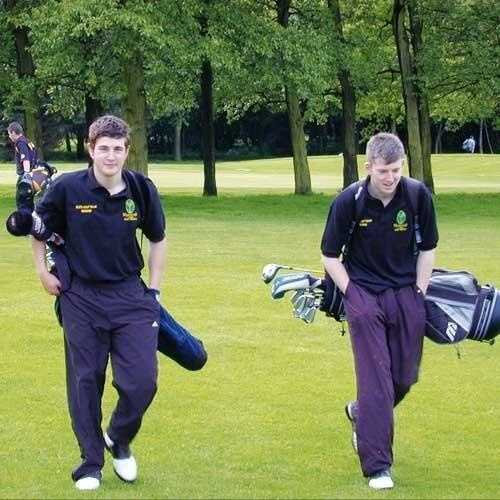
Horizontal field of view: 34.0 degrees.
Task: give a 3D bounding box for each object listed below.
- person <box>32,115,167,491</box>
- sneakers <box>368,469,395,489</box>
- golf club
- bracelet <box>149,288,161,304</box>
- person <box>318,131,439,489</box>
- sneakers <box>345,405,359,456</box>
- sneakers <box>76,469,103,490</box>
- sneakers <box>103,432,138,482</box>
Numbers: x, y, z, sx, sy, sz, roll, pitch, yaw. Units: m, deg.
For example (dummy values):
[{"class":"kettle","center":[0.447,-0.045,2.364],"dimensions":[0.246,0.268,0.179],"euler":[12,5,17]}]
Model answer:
[{"class":"person","center":[-0.817,0.271,4.633],"dimensions":[0.781,2.026,0.689],"euler":[-5,8,-17]},{"class":"sneakers","center":[0.734,1.289,4.579],"dimensions":[0.141,0.092,0.234],"euler":[-2,10,8]},{"class":"golf club","center":[0.319,0.267,5.347],"dimensions":[0.378,0.197,0.379],"euler":[21,3,-26]},{"class":"bracelet","center":[-0.566,0.275,4.814],"dimensions":[0.069,0.079,0.059],"euler":[0,3,-7]},{"class":"person","center":[0.837,0.411,4.802],"dimensions":[0.708,1.655,0.765],"euler":[-4,8,-6]},{"class":"sneakers","center":[0.653,1.113,5.199],"dimensions":[0.066,0.244,0.092],"euler":[-5,3,30]},{"class":"sneakers","center":[-0.876,1.258,4.412],"dimensions":[0.148,0.085,0.130],"euler":[-7,10,-19]},{"class":"sneakers","center":[-0.733,1.192,4.665],"dimensions":[0.112,0.343,0.135],"euler":[-23,-5,-19]}]
